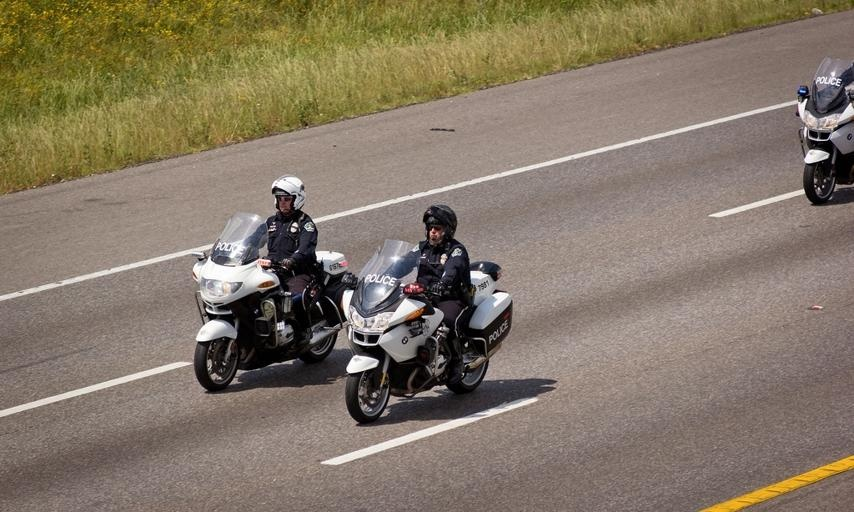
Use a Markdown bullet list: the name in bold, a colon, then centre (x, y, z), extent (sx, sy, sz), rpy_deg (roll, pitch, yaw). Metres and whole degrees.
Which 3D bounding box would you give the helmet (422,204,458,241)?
- **helmet**: centre (0.209, -0.494, 17.771), extent (0.485, 0.438, 0.539), rpy_deg (2, 5, 37)

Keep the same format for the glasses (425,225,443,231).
- **glasses**: centre (0.064, -0.437, 17.616), extent (0.126, 0.058, 0.154), rpy_deg (5, -5, -21)

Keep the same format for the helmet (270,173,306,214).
- **helmet**: centre (-2.311, -1.050, 18.969), extent (0.658, 0.514, 0.500), rpy_deg (-11, 13, -40)
